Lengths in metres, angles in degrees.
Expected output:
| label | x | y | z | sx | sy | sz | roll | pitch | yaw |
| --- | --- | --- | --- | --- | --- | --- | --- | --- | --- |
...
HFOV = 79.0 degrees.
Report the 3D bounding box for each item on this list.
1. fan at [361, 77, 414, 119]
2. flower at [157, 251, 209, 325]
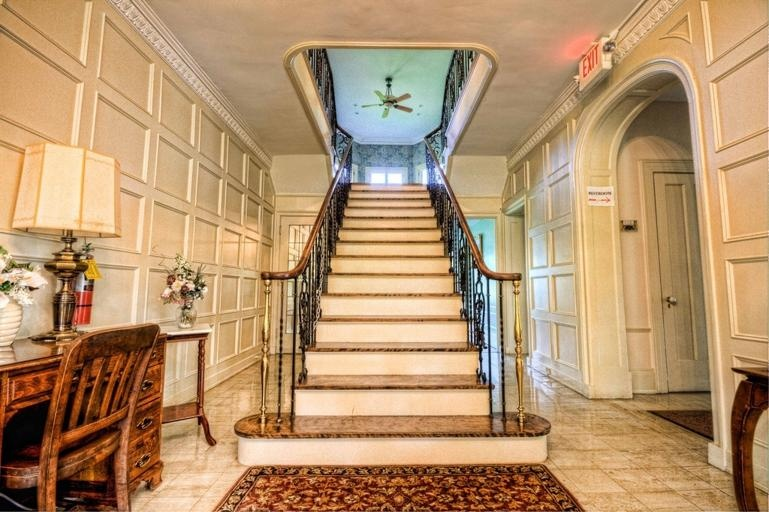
| label | x | y | z | sx | sy | sz | roll | pitch | yaw |
| --- | --- | --- | --- | --- | --- | --- | --- | --- | --- |
| fan | 0.145 | -2.996 | 9.022 | 0.970 | 0.501 | 0.849 | 3 | 10 | -13 |
| flower | -2.055 | 0.306 | 4.700 | 0.545 | 0.737 | 0.461 | 6 | 3 | 4 |
